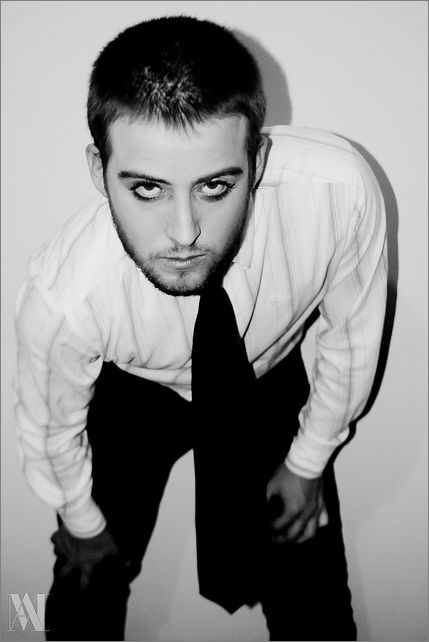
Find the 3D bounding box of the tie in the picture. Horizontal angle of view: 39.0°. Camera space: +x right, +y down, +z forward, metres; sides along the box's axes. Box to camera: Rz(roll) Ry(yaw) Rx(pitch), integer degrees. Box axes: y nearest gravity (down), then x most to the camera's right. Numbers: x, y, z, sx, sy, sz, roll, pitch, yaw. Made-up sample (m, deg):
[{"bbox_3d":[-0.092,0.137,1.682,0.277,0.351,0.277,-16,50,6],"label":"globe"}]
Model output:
[{"bbox_3d":[0.023,0.291,1.265,0.153,0.775,0.056,-2,18,0],"label":"tie"}]
